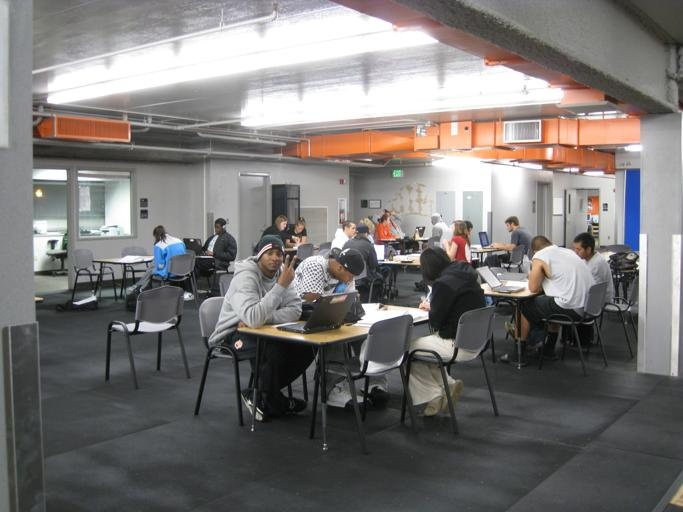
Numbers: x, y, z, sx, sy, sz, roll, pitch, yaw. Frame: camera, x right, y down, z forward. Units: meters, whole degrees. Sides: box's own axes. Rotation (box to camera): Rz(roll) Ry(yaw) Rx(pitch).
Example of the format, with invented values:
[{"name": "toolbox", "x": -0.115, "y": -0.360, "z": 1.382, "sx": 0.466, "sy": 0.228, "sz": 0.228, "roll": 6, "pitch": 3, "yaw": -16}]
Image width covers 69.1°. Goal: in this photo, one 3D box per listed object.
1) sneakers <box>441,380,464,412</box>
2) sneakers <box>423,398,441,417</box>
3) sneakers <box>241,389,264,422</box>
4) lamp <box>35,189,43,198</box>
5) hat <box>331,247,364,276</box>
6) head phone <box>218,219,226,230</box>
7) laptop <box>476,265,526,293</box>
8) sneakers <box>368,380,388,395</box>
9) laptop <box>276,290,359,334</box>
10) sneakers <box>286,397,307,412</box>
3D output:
[{"name": "sneakers", "x": 1.007, "y": 1.244, "z": 4.493, "sx": 0.233, "sy": 0.310, "sz": 0.105, "roll": -6, "pitch": -19, "yaw": 35}, {"name": "sneakers", "x": 0.819, "y": 1.356, "z": 4.464, "sx": 0.150, "sy": 0.064, "sz": 0.174, "roll": -8, "pitch": -9, "yaw": -17}, {"name": "sneakers", "x": -0.807, "y": 1.343, "z": 4.445, "sx": 0.133, "sy": 0.134, "sz": 0.362, "roll": 34, "pitch": 4, "yaw": -46}, {"name": "lamp", "x": -8.879, "y": -1.828, "z": 14.511, "sx": 0.211, "sy": 0.291, "sz": 0.102, "roll": 2, "pitch": -1, "yaw": -18}, {"name": "hat", "x": 0.067, "y": 0.062, "z": 4.472, "sx": 0.273, "sy": 0.237, "sz": 0.130, "roll": 2, "pitch": 6, "yaw": 15}, {"name": "head phone", "x": -2.646, "y": -0.686, "z": 10.928, "sx": 0.155, "sy": 0.208, "sz": 0.196, "roll": -6, "pitch": 4, "yaw": -21}, {"name": "laptop", "x": 2.117, "y": 0.342, "z": 6.526, "sx": 0.482, "sy": 0.298, "sz": 0.518, "roll": -6, "pitch": -1, "yaw": 36}, {"name": "sneakers", "x": 0.346, "y": 1.277, "z": 4.813, "sx": 0.117, "sy": 0.120, "sz": 0.149, "roll": -2, "pitch": -3, "yaw": 28}, {"name": "laptop", "x": -0.190, "y": 0.448, "z": 4.150, "sx": 0.437, "sy": 0.309, "sz": 0.537, "roll": 3, "pitch": 2, "yaw": 37}, {"name": "sneakers", "x": -0.405, "y": 1.373, "z": 4.580, "sx": 0.076, "sy": 0.091, "sz": 0.230, "roll": 1, "pitch": -3, "yaw": 19}]
